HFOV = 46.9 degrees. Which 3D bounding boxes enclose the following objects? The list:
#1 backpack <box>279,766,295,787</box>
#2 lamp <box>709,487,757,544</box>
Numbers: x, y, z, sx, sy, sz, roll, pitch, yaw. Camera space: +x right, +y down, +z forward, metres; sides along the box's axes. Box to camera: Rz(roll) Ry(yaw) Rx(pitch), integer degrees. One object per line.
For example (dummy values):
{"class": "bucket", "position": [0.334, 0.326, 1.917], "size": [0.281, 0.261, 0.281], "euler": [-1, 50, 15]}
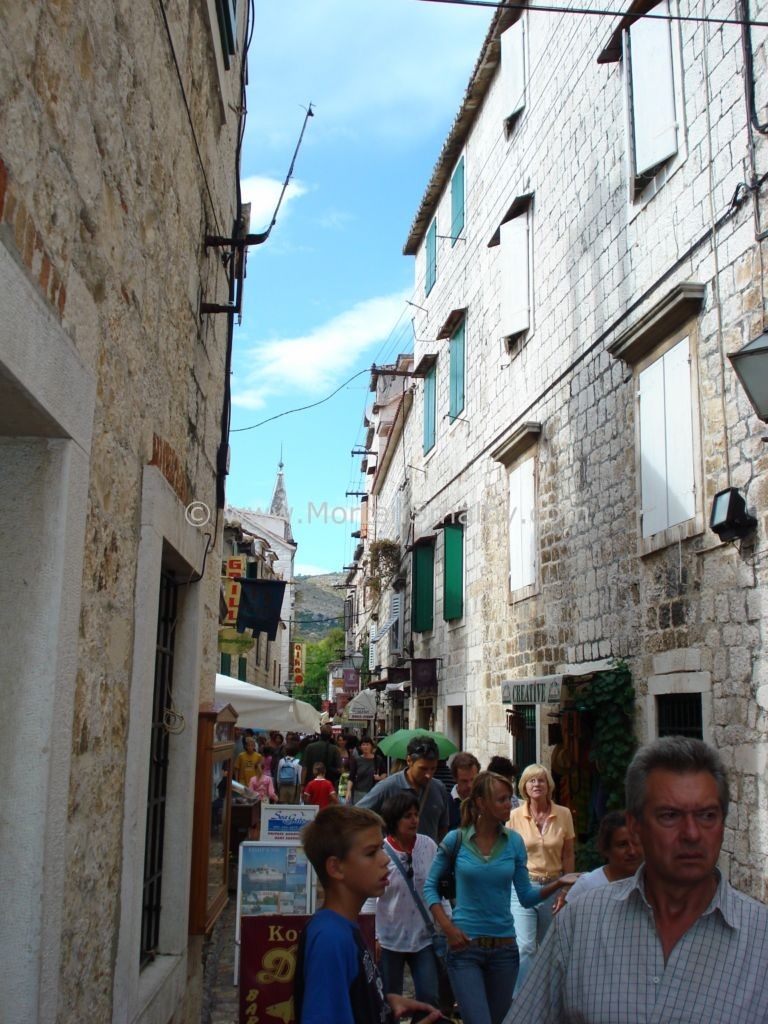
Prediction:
{"class": "backpack", "position": [-1.522, 4.155, 14.044], "size": [0.250, 0.497, 0.225], "euler": [0, -6, -1]}
{"class": "lamp", "position": [2.330, 0.051, 5.932], "size": [0.244, 0.478, 0.274], "euler": [12, -15, -18]}
